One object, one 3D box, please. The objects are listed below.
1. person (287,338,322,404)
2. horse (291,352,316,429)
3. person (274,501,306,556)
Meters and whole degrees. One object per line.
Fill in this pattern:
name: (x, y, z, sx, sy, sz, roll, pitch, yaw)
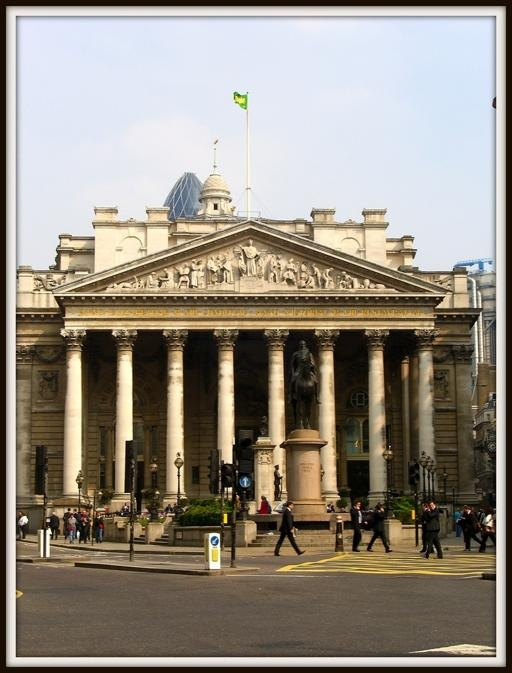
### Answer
person: (1.576, 1.222, 45.412, 0.831, 1.969, 1.306, -1, -9, -2)
horse: (1.596, 1.648, 45.441, 0.761, 2.880, 2.405, -1, -5, -4)
person: (0.912, 5.290, 38.067, 0.949, 1.869, 0.782, -9, -6, 42)
